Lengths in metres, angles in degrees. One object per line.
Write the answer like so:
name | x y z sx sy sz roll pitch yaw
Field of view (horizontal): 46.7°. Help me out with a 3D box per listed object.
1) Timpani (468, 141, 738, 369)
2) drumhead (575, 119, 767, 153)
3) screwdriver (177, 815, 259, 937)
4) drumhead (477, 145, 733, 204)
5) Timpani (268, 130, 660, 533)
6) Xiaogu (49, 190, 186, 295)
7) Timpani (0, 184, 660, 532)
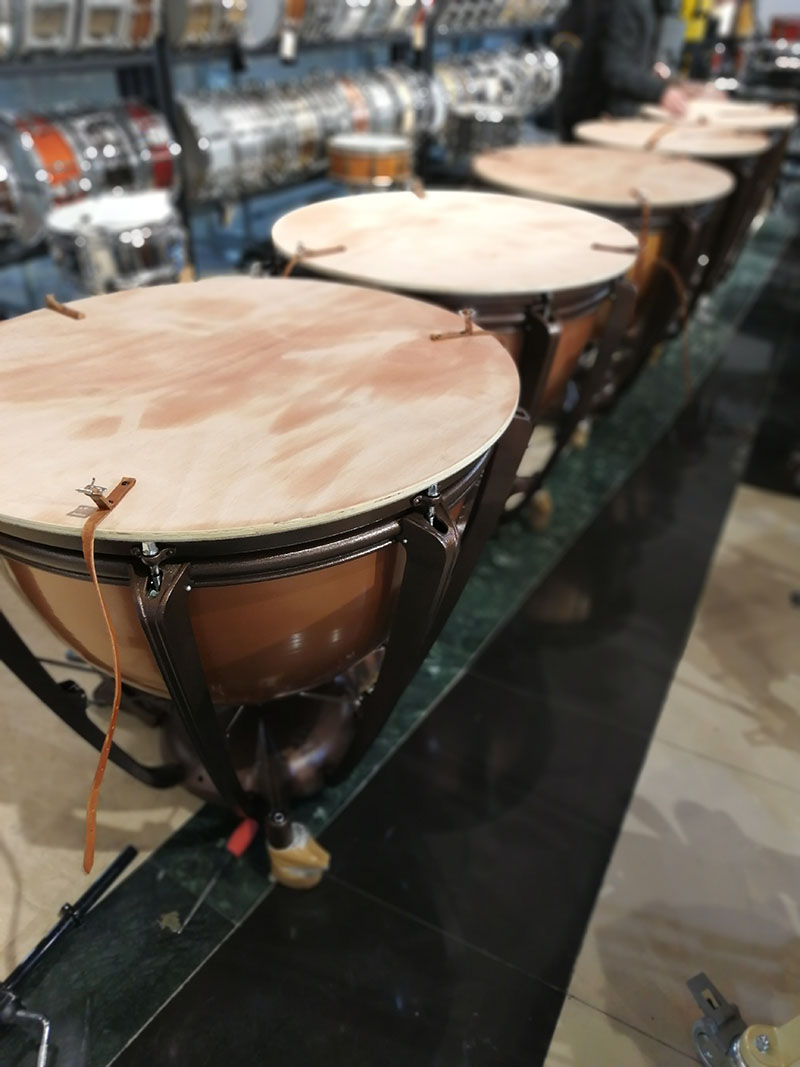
Timpani | 0.454 -0.853 2.447 0.646 0.459 0.652 22 46 22
drumhead | 0.880 -1.273 2.976 0.477 0.048 0.446 4 25 5
screwdriver | -0.265 0.504 1.414 0.045 0.044 0.220 15 41 21
drumhead | 0.524 -0.928 2.394 0.367 0.078 0.356 -23 41 -33
Timpani | 0.055 -0.401 1.985 0.711 0.527 0.702 18 43 15
Xiaogu | -0.880 -0.857 2.869 0.343 0.229 0.387 7 29 46
Timpani | 0.095 -0.383 1.879 0.697 0.438 0.567 -3 33 -6
